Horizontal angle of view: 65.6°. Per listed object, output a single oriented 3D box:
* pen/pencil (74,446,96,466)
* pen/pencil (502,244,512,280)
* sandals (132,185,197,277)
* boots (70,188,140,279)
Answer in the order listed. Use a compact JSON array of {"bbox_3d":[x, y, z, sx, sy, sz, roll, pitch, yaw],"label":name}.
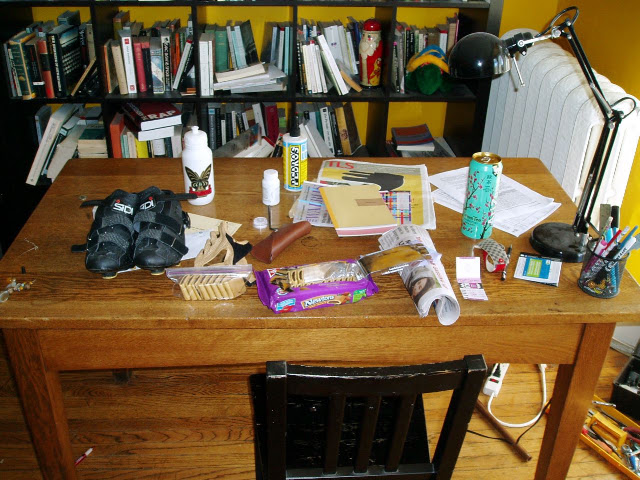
[{"bbox_3d":[-0.828,0.762,1.759,0.083,0.020,0.020,-19,63,-37],"label":"pen/pencil"},{"bbox_3d":[0.498,0.061,1.328,0.018,0.016,0.105,11,56,27],"label":"pen/pencil"},{"bbox_3d":[-0.414,-0.035,1.323,0.131,0.114,0.242,-4,43,-14],"label":"sandals"},{"bbox_3d":[-0.529,-0.014,1.271,0.161,0.100,0.236,8,44,-11],"label":"boots"}]
